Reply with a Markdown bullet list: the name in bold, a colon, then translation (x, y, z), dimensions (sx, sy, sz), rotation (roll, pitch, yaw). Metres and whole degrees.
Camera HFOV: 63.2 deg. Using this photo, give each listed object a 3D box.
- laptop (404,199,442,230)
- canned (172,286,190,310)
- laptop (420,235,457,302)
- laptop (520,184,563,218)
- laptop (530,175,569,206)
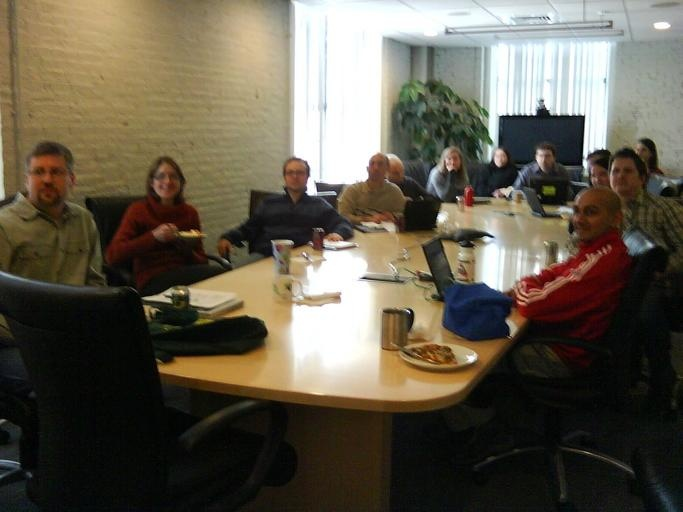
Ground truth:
- **laptop**: translation (0.601, -0.323, 4.138), dimensions (0.293, 0.209, 0.214), rotation (0, 9, -4)
- **canned**: translation (-0.620, 0.161, 2.160), dimensions (0.082, 0.085, 0.061), rotation (-1, 4, 15)
- **laptop**: translation (0.449, 0.067, 2.591), dimensions (0.187, 0.232, 0.242), rotation (-9, 16, 30)
- **laptop**: translation (1.802, -0.473, 5.001), dimensions (0.300, 0.264, 0.358), rotation (-8, 15, -13)
- **laptop**: translation (2.022, -0.589, 5.419), dimensions (0.373, 0.276, 0.264), rotation (2, 13, 10)
